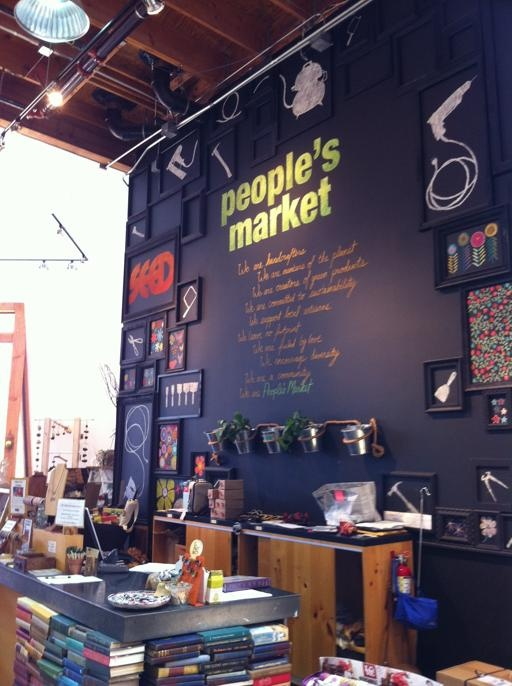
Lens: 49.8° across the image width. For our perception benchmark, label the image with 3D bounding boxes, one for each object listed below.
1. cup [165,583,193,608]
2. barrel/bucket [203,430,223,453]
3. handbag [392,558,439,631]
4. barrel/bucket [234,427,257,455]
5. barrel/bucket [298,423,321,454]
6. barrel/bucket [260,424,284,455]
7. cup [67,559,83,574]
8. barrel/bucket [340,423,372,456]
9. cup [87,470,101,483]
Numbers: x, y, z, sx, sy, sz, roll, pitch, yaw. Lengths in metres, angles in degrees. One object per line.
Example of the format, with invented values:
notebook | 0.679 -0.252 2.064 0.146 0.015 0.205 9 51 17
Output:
cup | -0.261 0.869 1.889 0.062 0.051 0.063 -7 -14 -2
barrel/bucket | -0.348 0.839 4.695 0.189 0.185 0.210 -9 -8 -1
handbag | 0.778 1.282 2.828 0.186 0.312 0.299 2 -11 -4
barrel/bucket | -0.114 0.791 4.388 0.189 0.195 0.189 1 -9 0
barrel/bucket | 0.369 0.657 3.794 0.156 0.172 0.102 -1 -11 7
barrel/bucket | 0.116 0.730 4.118 0.202 0.259 0.200 1 -10 0
cup | -0.851 1.048 2.595 0.066 0.062 0.071 0 -16 0
barrel/bucket | 0.608 0.614 3.496 0.189 0.169 0.188 2 -5 0
cup | -1.861 1.514 6.324 0.184 0.140 0.114 -6 -13 31
